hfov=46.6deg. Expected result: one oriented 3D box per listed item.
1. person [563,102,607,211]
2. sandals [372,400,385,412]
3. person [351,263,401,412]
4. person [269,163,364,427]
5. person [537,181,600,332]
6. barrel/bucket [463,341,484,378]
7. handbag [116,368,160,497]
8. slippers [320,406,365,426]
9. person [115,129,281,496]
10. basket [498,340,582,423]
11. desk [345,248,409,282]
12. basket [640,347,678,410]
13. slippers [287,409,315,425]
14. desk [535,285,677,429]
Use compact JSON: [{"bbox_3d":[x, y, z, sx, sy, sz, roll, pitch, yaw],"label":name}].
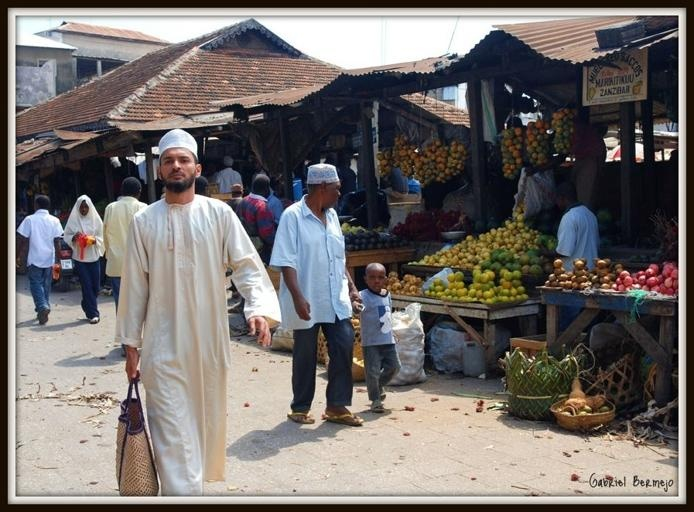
[{"bbox_3d":[3.429,-1.360,11.472,0.595,1.746,0.596,10,15,44],"label":"person"},{"bbox_3d":[0.334,1.634,8.928,0.149,0.126,0.239,1,9,4],"label":"sandals"},{"bbox_3d":[0.268,0.879,8.984,0.472,1.473,0.599,-1,1,-32],"label":"person"},{"bbox_3d":[-0.309,0.404,8.497,1.107,2.673,0.835,2,-4,-30],"label":"person"},{"bbox_3d":[2.849,0.090,10.376,0.679,1.998,0.806,4,16,45],"label":"person"},{"bbox_3d":[1.582,1.305,10.176,0.285,0.434,0.099,2,9,12],"label":"barrel/bucket"},{"bbox_3d":[-1.663,1.484,6.354,0.305,0.825,0.262,7,11,39],"label":"handbag"},{"bbox_3d":[-0.049,1.683,8.568,0.431,0.176,0.162,2,5,14],"label":"slippers"},{"bbox_3d":[-1.330,0.512,6.876,1.250,3.228,1.121,-1,1,-44],"label":"person"},{"bbox_3d":[1.960,1.271,8.771,0.833,0.787,0.728,-3,10,-29],"label":"basket"},{"bbox_3d":[0.428,-0.205,12.299,1.174,0.593,0.423,-4,10,-28],"label":"desk"},{"bbox_3d":[3.214,1.286,8.403,0.404,0.527,0.188,1,5,2],"label":"basket"},{"bbox_3d":[-0.476,1.692,8.506,0.226,0.070,0.125,1,3,39],"label":"slippers"},{"bbox_3d":[2.708,1.040,8.484,1.146,0.931,1.208,1,2,29],"label":"desk"}]
